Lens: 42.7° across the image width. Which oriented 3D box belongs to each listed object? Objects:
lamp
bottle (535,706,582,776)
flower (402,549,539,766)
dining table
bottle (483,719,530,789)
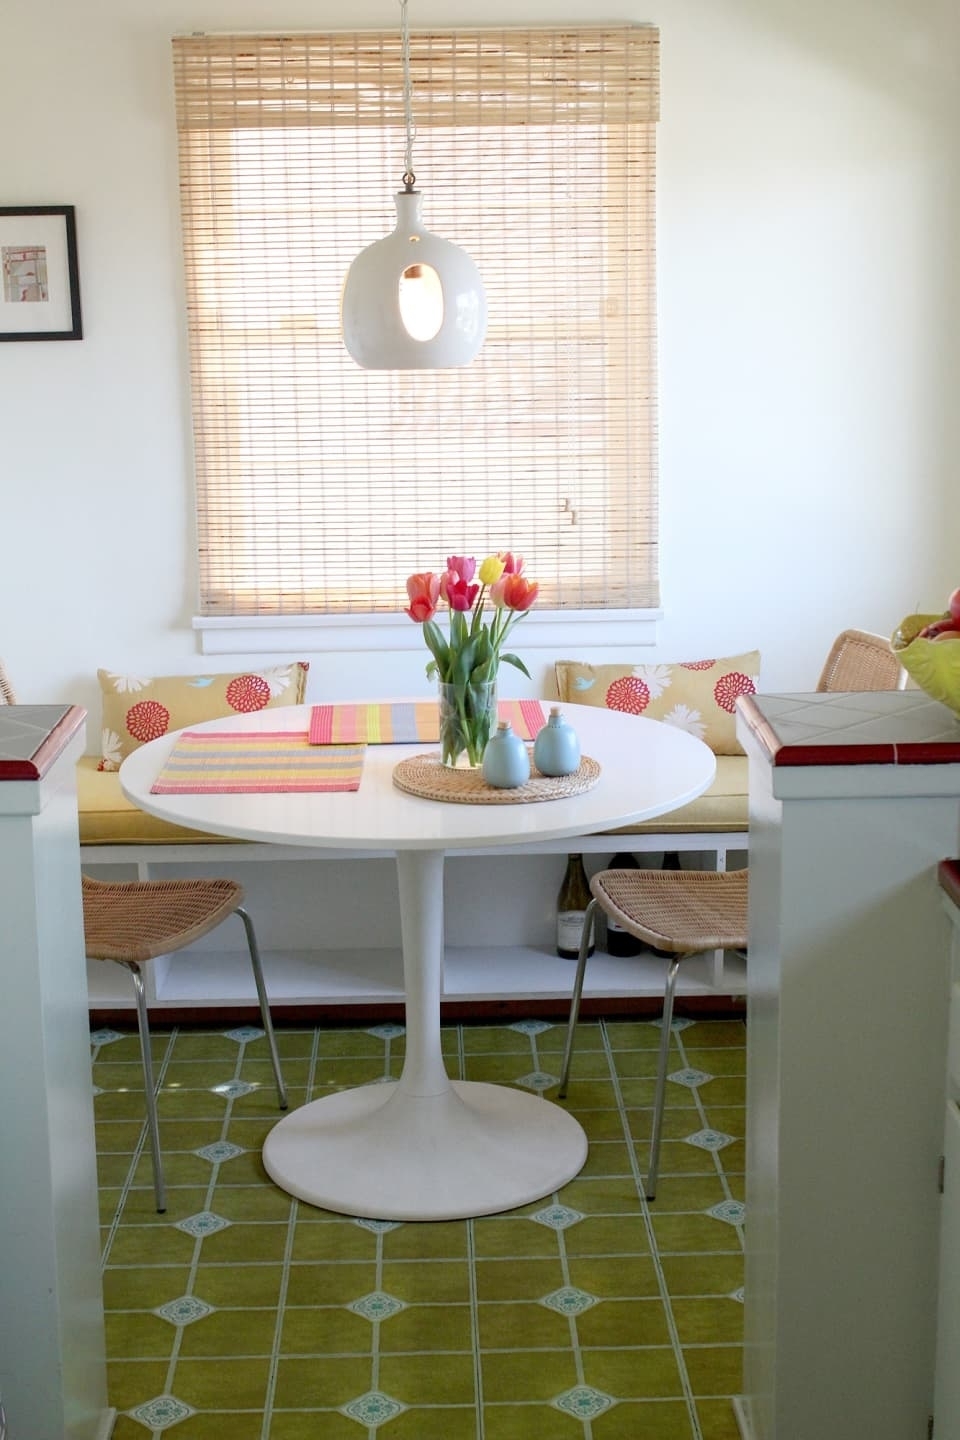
[{"bbox_3d":[-0.118,-0.778,2.032,0.223,0.380,0.192,11,14,39],"label":"lamp"},{"bbox_3d":[0.134,0.038,2.024,0.087,0.106,0.092,-3,12,-24],"label":"bottle"},{"bbox_3d":[-0.015,-0.090,2.104,0.244,0.360,0.224,0,3,11],"label":"flower"},{"bbox_3d":[-0.079,0.324,1.861,0.570,0.587,0.417,-15,43,20],"label":"dining table"},{"bbox_3d":[0.038,0.058,1.940,0.072,0.100,0.063,4,11,11],"label":"bottle"}]
